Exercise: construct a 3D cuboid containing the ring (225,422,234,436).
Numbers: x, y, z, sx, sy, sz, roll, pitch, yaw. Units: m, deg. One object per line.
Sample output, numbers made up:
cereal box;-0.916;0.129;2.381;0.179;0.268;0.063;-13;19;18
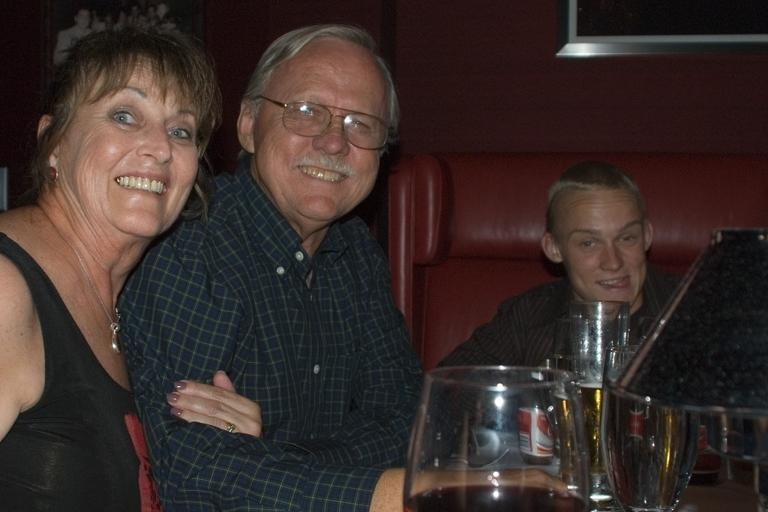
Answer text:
ring;-0.337;0.378;1.687;0.020;0.015;0.020;7;-3;0
